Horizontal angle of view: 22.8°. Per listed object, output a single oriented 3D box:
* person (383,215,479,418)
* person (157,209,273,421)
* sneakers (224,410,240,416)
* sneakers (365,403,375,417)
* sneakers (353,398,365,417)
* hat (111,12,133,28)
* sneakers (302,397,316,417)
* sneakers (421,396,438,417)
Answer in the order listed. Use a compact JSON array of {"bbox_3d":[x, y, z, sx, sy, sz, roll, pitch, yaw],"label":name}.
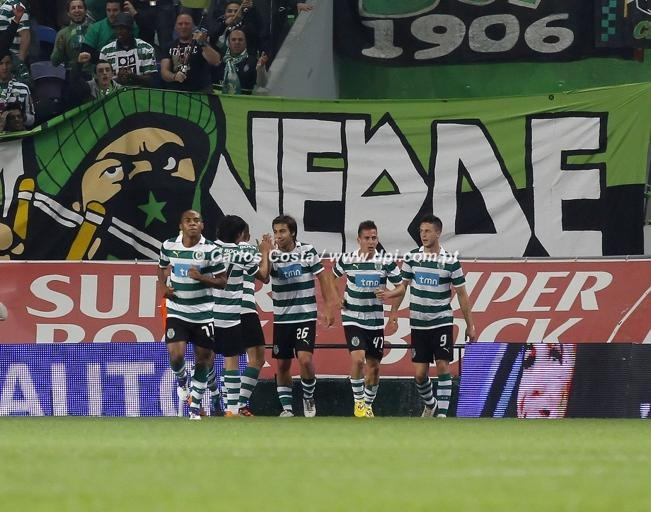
[{"bbox_3d":[1.242,0.711,19.144,0.988,1.676,0.742,3,-2,3],"label":"person"},{"bbox_3d":[-1.418,0.665,18.684,1.106,1.852,0.642,3,-2,-6],"label":"person"},{"bbox_3d":[-1.127,1.820,18.712,0.086,0.050,0.118,6,7,34],"label":"sneakers"},{"bbox_3d":[0.517,1.850,19.191,0.061,0.185,0.082,-5,37,12],"label":"sneakers"},{"bbox_3d":[0.392,1.802,19.162,0.178,0.181,0.114,3,-15,6],"label":"sneakers"},{"bbox_3d":[-2.757,-3.134,21.681,0.275,0.175,0.204,4,-2,-9],"label":"hat"},{"bbox_3d":[-0.210,1.803,19.291,0.097,0.278,0.109,-4,12,5],"label":"sneakers"},{"bbox_3d":[1.233,1.832,19.349,0.126,0.324,0.108,-6,37,-33],"label":"sneakers"}]
